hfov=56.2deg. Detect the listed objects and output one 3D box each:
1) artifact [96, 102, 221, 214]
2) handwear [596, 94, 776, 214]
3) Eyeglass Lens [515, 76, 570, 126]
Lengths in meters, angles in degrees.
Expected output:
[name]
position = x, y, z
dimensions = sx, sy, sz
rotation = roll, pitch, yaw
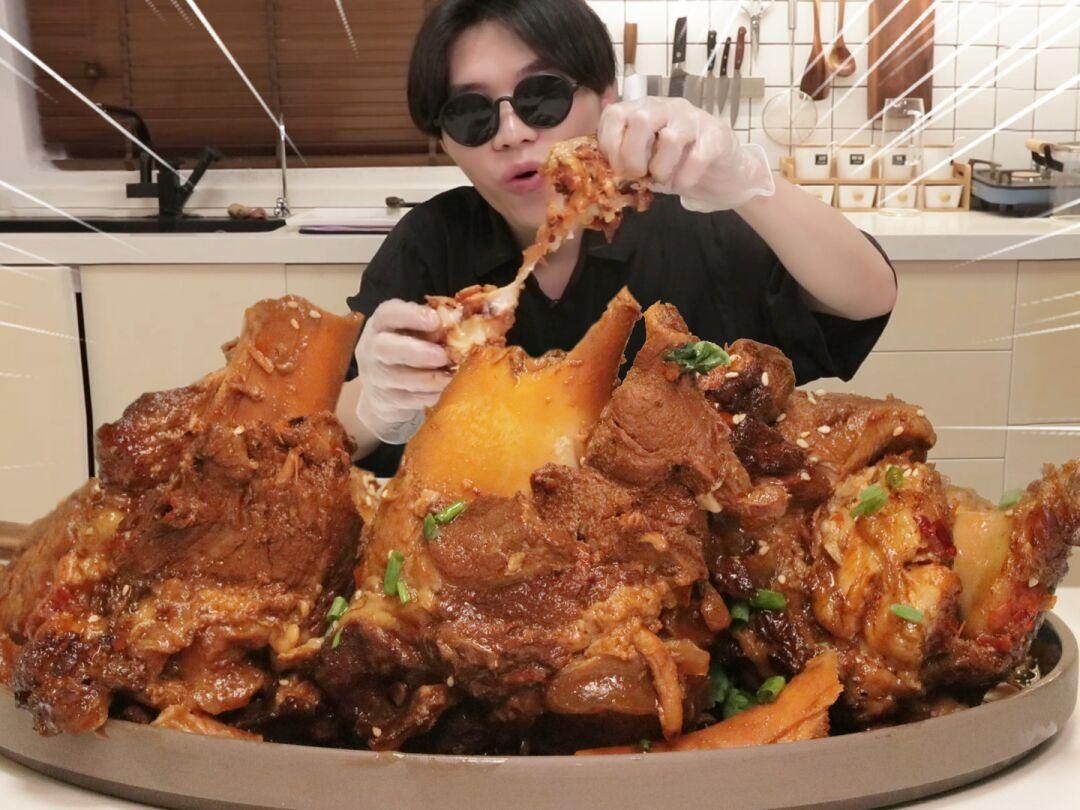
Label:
[artifact]
position = -1.272, -0.834, 3.506
dimensions = 0.407, 0.361, 0.153
rotation = 0, 18, -3
[handwear]
position = 0.212, -0.355, 1.439
dimensions = 0.325, 0.159, 0.093
rotation = 7, 13, -25
[Eyeglass Lens]
position = 0.009, -0.561, 1.873
dimensions = 0.123, 0.094, 0.062
rotation = 3, 9, -12
